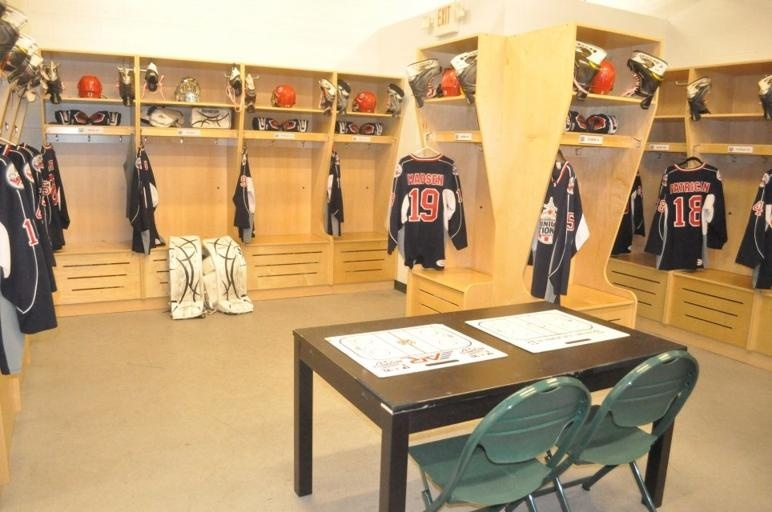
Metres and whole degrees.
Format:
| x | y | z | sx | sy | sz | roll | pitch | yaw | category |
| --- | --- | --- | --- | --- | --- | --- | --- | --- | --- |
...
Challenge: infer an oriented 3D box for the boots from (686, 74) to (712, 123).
| x | y | z | sx | sy | sz | roll | pitch | yaw | category |
| --- | --- | --- | --- | --- | --- | --- | --- | --- | --- |
| 3.450 | -1.818 | 5.865 | 0.230 | 0.493 | 0.706 | -7 | 28 | 34 | boots |

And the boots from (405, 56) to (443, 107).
| x | y | z | sx | sy | sz | roll | pitch | yaw | category |
| --- | --- | --- | --- | --- | --- | --- | --- | --- | --- |
| 0.444 | -1.851 | 5.662 | 0.446 | 0.402 | 0.341 | -20 | 23 | -1 | boots |

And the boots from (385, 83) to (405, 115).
| x | y | z | sx | sy | sz | roll | pitch | yaw | category |
| --- | --- | --- | --- | --- | --- | --- | --- | --- | --- |
| 0.098 | -2.131 | 7.358 | 0.245 | 0.390 | 0.335 | -18 | 25 | -29 | boots |

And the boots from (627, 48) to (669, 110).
| x | y | z | sx | sy | sz | roll | pitch | yaw | category |
| --- | --- | --- | --- | --- | --- | --- | --- | --- | --- |
| 2.370 | -1.613 | 4.886 | 0.301 | 0.503 | 0.207 | 5 | 14 | 21 | boots |

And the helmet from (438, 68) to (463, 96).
| x | y | z | sx | sy | sz | roll | pitch | yaw | category |
| --- | --- | --- | --- | --- | --- | --- | --- | --- | --- |
| 0.659 | -1.742 | 5.362 | 0.260 | 0.349 | 0.202 | 14 | 25 | 41 | helmet |

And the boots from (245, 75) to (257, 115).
| x | y | z | sx | sy | sz | roll | pitch | yaw | category |
| --- | --- | --- | --- | --- | --- | --- | --- | --- | --- |
| -1.703 | -2.044 | 6.743 | 0.158 | 0.483 | 0.208 | -6 | 11 | -25 | boots |

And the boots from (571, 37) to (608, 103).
| x | y | z | sx | sy | sz | roll | pitch | yaw | category |
| --- | --- | --- | --- | --- | --- | --- | --- | --- | --- |
| 1.740 | -1.628 | 4.702 | 0.422 | 0.443 | 0.350 | 3 | 9 | 19 | boots |

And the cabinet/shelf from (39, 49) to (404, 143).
| x | y | z | sx | sy | sz | roll | pitch | yaw | category |
| --- | --- | --- | --- | --- | --- | --- | --- | --- | --- |
| -1.828 | -2.025 | 6.909 | 4.189 | 0.903 | 0.528 | 5 | 18 | -2 | cabinet/shelf |

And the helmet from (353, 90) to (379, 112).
| x | y | z | sx | sy | sz | roll | pitch | yaw | category |
| --- | --- | --- | --- | --- | --- | --- | --- | --- | --- |
| -0.265 | -2.128 | 7.383 | 0.248 | 0.262 | 0.323 | -5 | 34 | -20 | helmet |

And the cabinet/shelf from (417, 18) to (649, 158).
| x | y | z | sx | sy | sz | roll | pitch | yaw | category |
| --- | --- | --- | --- | --- | --- | --- | --- | --- | --- |
| 1.424 | -1.581 | 5.106 | 0.863 | 1.014 | 1.556 | -7 | 14 | -36 | cabinet/shelf |

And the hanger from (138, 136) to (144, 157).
| x | y | z | sx | sy | sz | roll | pitch | yaw | category |
| --- | --- | --- | --- | --- | --- | --- | --- | --- | --- |
| -2.937 | -1.322 | 6.433 | 0.074 | 0.211 | 0.265 | -4 | 13 | -18 | hanger |

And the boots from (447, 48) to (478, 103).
| x | y | z | sx | sy | sz | roll | pitch | yaw | category |
| --- | --- | --- | --- | --- | --- | --- | --- | --- | --- |
| 0.754 | -1.725 | 5.163 | 0.338 | 0.432 | 0.156 | -23 | 8 | -16 | boots |

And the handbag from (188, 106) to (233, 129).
| x | y | z | sx | sy | sz | roll | pitch | yaw | category |
| --- | --- | --- | --- | --- | --- | --- | --- | --- | --- |
| -2.218 | -1.758 | 6.813 | 0.432 | 0.276 | 0.287 | 2 | 13 | 9 | handbag |

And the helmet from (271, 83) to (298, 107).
| x | y | z | sx | sy | sz | roll | pitch | yaw | category |
| --- | --- | --- | --- | --- | --- | --- | --- | --- | --- |
| -1.331 | -2.139 | 7.065 | 0.271 | 0.264 | 0.319 | -7 | 51 | -24 | helmet |

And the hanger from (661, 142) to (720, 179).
| x | y | z | sx | sy | sz | roll | pitch | yaw | category |
| --- | --- | --- | --- | --- | --- | --- | --- | --- | --- |
| 3.527 | -1.101 | 6.143 | 0.622 | 0.389 | 0.029 | 6 | 6 | 15 | hanger |

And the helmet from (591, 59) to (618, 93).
| x | y | z | sx | sy | sz | roll | pitch | yaw | category |
| --- | --- | --- | --- | --- | --- | --- | --- | --- | --- |
| 2.009 | -1.596 | 4.904 | 0.237 | 0.221 | 0.177 | 12 | 33 | 26 | helmet |

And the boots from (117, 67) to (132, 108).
| x | y | z | sx | sy | sz | roll | pitch | yaw | category |
| --- | --- | --- | --- | --- | --- | --- | --- | --- | --- |
| -3.005 | -1.985 | 6.229 | 0.156 | 0.424 | 0.265 | -6 | 14 | -23 | boots |

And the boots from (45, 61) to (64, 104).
| x | y | z | sx | sy | sz | roll | pitch | yaw | category |
| --- | --- | --- | --- | --- | --- | --- | --- | --- | --- |
| -3.745 | -1.958 | 6.028 | 0.150 | 0.423 | 0.318 | -8 | 15 | -31 | boots |
